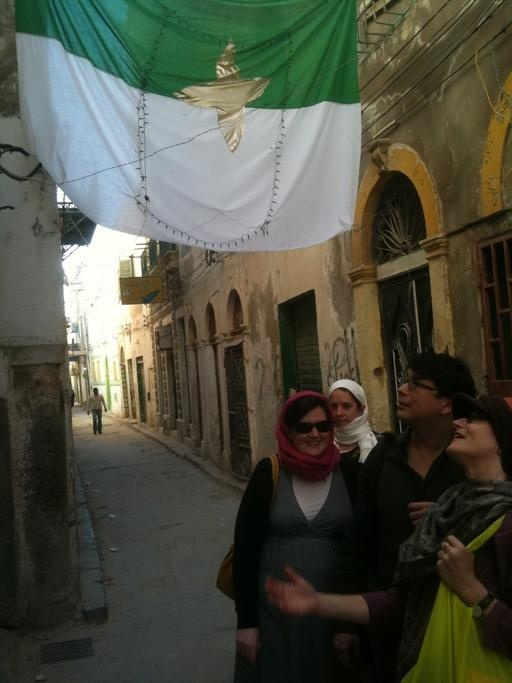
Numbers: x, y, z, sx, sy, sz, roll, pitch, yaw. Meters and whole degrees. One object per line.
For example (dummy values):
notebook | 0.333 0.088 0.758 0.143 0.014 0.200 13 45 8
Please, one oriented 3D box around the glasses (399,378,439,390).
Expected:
glasses | 0.581 0.159 2.325 0.070 0.044 0.185 -6 0 -27
